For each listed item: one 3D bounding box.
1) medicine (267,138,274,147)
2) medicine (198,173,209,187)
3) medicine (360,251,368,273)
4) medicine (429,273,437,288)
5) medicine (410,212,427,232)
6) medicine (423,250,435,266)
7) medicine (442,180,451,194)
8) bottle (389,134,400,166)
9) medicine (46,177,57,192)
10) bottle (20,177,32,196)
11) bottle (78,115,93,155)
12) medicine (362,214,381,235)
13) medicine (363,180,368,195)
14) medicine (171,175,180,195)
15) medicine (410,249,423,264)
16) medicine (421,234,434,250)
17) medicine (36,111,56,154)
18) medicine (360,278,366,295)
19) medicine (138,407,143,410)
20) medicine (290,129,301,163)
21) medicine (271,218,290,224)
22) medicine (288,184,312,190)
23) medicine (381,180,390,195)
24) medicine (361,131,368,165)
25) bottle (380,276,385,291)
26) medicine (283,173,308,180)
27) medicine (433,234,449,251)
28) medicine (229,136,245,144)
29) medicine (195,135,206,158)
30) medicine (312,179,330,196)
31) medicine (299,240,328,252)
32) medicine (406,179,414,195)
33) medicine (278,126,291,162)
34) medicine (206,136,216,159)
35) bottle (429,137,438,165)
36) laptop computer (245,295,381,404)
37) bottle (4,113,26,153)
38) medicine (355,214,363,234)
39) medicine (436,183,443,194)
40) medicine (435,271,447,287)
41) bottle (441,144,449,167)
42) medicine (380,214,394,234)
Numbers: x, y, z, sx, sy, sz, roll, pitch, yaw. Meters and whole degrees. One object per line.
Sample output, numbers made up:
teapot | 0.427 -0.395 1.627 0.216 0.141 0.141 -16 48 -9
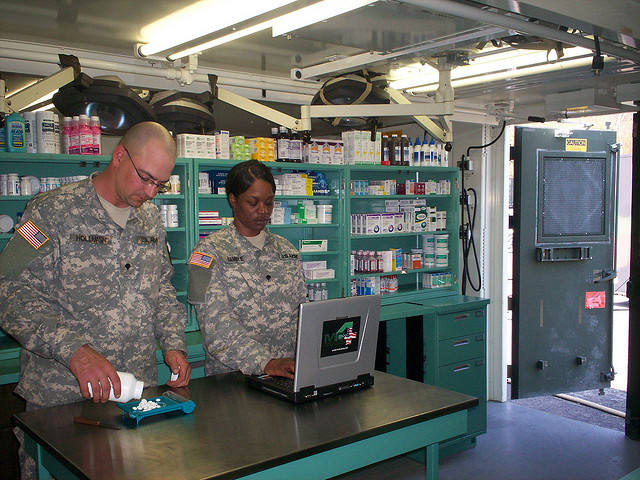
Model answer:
medicine | -0.406 -0.792 4.322 0.071 0.053 0.017 2 -4 -43
medicine | -0.899 -0.460 4.122 0.115 0.083 0.026 -1 0 -36
medicine | 0.397 0.194 4.938 0.077 0.187 0.038 1 6 29
medicine | 1.113 0.397 5.308 0.077 0.133 0.038 -2 5 -1
medicine | 0.934 -0.184 5.187 0.250 0.183 0.126 0 -1 -32
medicine | 1.068 0.171 5.321 0.168 0.132 0.145 0 3 9
medicine | 1.249 -0.531 5.340 0.059 0.138 0.104 1 6 34
bottle | 0.688 -0.848 5.010 0.066 0.283 0.098 2 6 35
medicine | -1.857 -0.393 3.692 0.067 0.083 0.147 -4 5 -21
bottle | -1.973 -0.360 3.602 0.070 0.123 0.088 3 7 43
bottle | -1.586 -0.707 3.612 0.086 0.259 0.036 -3 5 -15
medicine | 0.451 -0.144 4.850 0.221 0.159 0.106 -2 9 -20
medicine | 0.408 -0.474 4.853 0.033 0.119 0.081 -2 5 4
medicine | -1.103 -0.420 4.058 0.060 0.148 0.064 -3 5 -13
medicine | 0.927 0.168 5.381 0.161 0.130 0.138 0 2 -2
medicine | 1.065 0.027 5.323 0.157 0.124 0.137 2 3 15
medicine | -1.818 -0.710 3.544 0.117 0.284 0.076 -4 6 -22
medicine | 0.383 0.411 4.897 0.056 0.133 0.052 -2 5 3
medicine | -0.774 0.716 2.298 0.018 0.004 0.011 -3 5 -29
medicine | -0.211 -0.777 4.438 0.091 0.280 0.141 -2 5 0
medicine | -0.334 -0.159 4.393 0.042 0.051 0.193 2 5 41
medicine | -0.174 -0.445 4.484 0.028 0.042 0.250 3 6 44
medicine | 0.598 -0.490 4.964 0.093 0.122 0.035 -4 6 -25
medicine | 0.390 -0.825 4.801 0.035 0.286 0.082 1 6 33
bottle | 0.576 0.402 5.031 0.037 0.133 0.068 -1 5 15
medicine | -0.205 -0.527 4.473 0.063 0.044 0.233 3 5 44
medicine | 1.189 0.023 5.305 0.187 0.146 0.171 -1 4 -27
medicine | -0.660 -0.788 4.241 0.098 0.058 0.126 0 5 -13
medicine | -0.910 -0.704 4.035 0.087 0.168 0.022 -6 7 -41
medicine | 0.019 -0.455 4.643 0.084 0.141 0.202 2 5 37
medicine | -0.066 0.045 4.687 0.282 0.095 0.136 -3 5 -21
medicine | 0.851 -0.503 5.141 0.063 0.083 0.170 0 9 20
medicine | -0.300 -0.781 4.376 0.106 0.294 0.143 -2 5 -2
medicine | -0.837 -0.705 4.081 0.030 0.167 0.083 2 6 38
bottle | 1.082 -0.822 5.173 0.120 0.188 0.034 -6 7 -43
laptop computer | -0.117 0.533 2.693 0.623 0.426 0.572 -10 -8 37
bottle | -1.973 -0.689 3.454 0.116 0.247 0.064 -4 6 -26
medicine | 0.342 -0.147 4.857 0.077 0.164 0.022 1 6 26
medicine | 1.172 -0.516 5.317 0.056 0.100 0.041 -1 5 11
medicine | 1.233 0.391 5.432 0.165 0.129 0.128 -4 7 -42
bottle | 1.196 -0.818 5.207 0.057 0.217 0.258 -1 4 12
medicine | 0.602 -0.155 4.926 0.213 0.163 0.111 -5 9 -41
